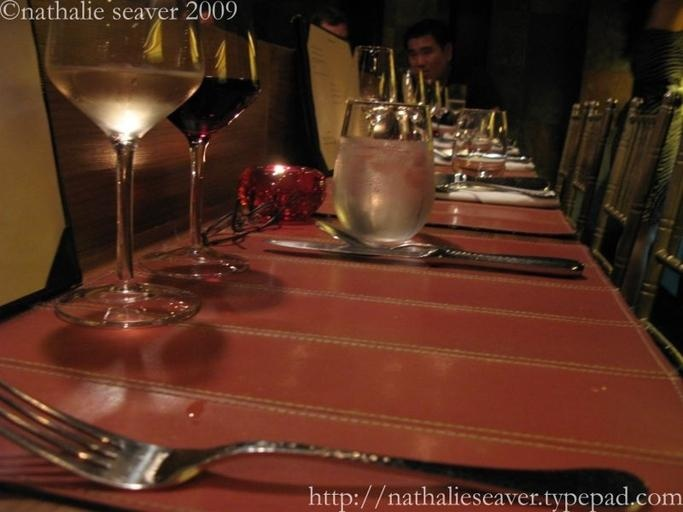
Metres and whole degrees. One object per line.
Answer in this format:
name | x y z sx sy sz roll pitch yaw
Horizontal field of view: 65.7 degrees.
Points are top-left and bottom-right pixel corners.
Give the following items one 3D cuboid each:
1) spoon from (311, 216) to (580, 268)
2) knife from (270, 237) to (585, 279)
spoon | 0.112 -0.007 0.541 0.286 0.033 0.029 4 14 1
knife | 0.085 0.003 0.555 0.276 0.011 0.034 3 -1 10
